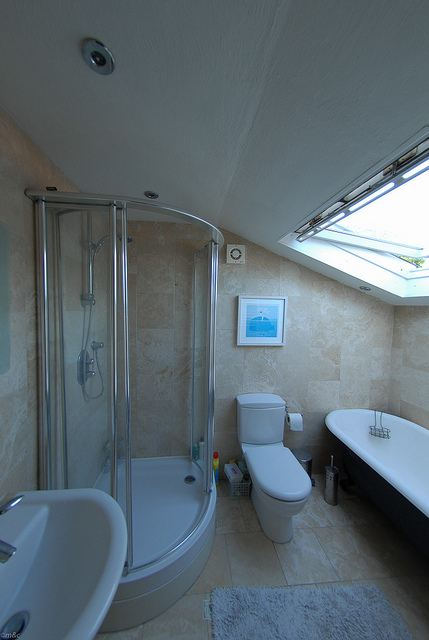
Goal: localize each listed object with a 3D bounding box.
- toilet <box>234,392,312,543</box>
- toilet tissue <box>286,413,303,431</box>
[{"bbox_3d":[0.327,0.858,2.439,0.306,0.672,0.650,-1,15,-9],"label":"toilet"},{"bbox_3d":[0.536,0.666,2.782,0.083,0.104,0.130,0,-2,0],"label":"toilet tissue"}]
